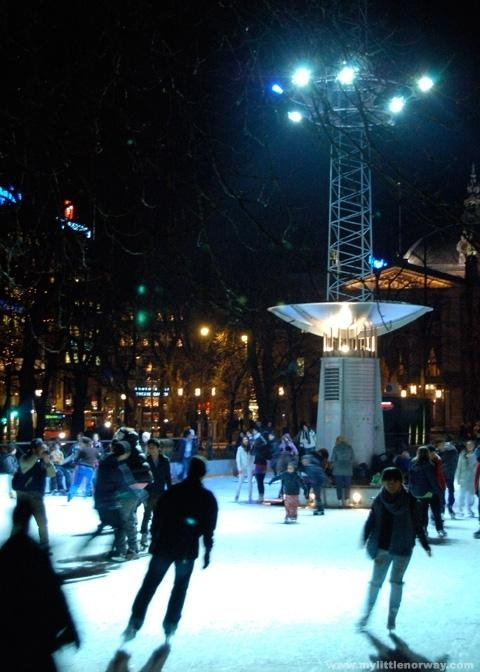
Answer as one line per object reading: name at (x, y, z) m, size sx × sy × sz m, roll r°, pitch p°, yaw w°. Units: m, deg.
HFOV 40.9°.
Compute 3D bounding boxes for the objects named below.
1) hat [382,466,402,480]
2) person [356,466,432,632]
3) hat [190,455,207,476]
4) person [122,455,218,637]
hat at (1.419, 1.280, 6.015) m, size 0.135 × 0.127 × 0.140 m, roll -3°, pitch 1°, yaw 34°
person at (1.417, 2.000, 6.069) m, size 0.598 × 1.495 × 0.442 m, roll 0°, pitch -7°, yaw 10°
hat at (-0.400, 1.210, 5.987) m, size 0.166 × 0.216 × 0.216 m, roll 3°, pitch -7°, yaw -6°
person at (-0.609, 1.895, 5.780) m, size 0.738 × 1.577 × 0.538 m, roll 1°, pitch -7°, yaw 2°
